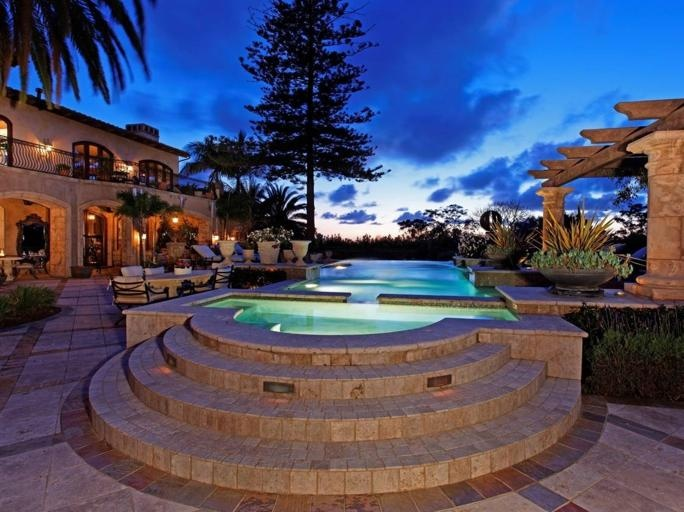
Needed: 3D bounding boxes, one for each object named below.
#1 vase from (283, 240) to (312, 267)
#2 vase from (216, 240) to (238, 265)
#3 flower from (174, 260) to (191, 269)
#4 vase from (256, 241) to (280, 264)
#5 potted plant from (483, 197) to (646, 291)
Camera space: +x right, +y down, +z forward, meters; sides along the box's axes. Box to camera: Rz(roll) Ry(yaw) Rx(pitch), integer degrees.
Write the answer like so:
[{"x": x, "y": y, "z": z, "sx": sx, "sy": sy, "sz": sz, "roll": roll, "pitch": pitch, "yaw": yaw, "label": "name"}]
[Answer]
[{"x": -1.478, "y": -0.151, "z": 15.523, "sx": 1.168, "sy": 1.095, "sz": 1.106, "roll": 2, "pitch": -5, "yaw": -19, "label": "vase"}, {"x": -4.627, "y": -0.135, "z": 16.780, "sx": 1.074, "sy": 1.046, "sz": 1.000, "roll": 1, "pitch": -4, "yaw": -3, "label": "vase"}, {"x": -5.018, "y": 0.259, "z": 13.009, "sx": 0.393, "sy": 0.169, "sz": 0.379, "roll": 1, "pitch": 0, "yaw": -35, "label": "flower"}, {"x": -2.658, "y": -0.116, "z": 15.659, "sx": 0.926, "sy": 0.684, "sz": 0.874, "roll": 0, "pitch": 1, "yaw": 26, "label": "vase"}, {"x": 4.633, "y": -0.081, "z": 8.011, "sx": 1.460, "sy": 1.596, "sz": 1.206, "roll": 1, "pitch": 2, "yaw": 32, "label": "potted plant"}]
